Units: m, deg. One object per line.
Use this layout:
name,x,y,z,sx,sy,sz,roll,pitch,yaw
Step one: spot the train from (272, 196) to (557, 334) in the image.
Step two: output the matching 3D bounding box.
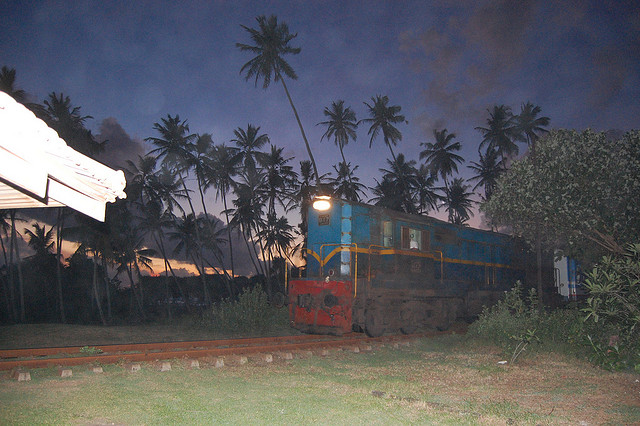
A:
train,6.170,3.107,19.772,17.594,5.311,3.413,11,-12,-36
